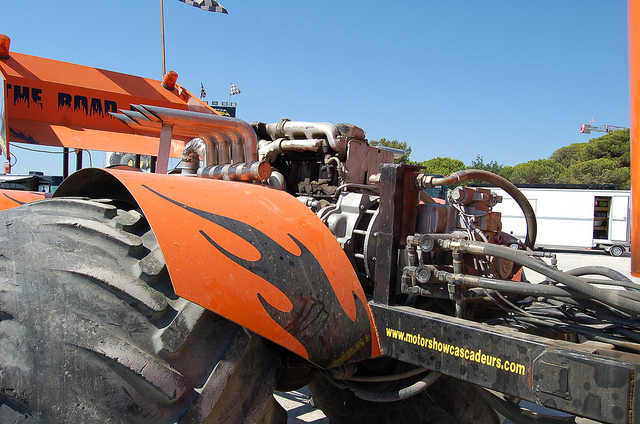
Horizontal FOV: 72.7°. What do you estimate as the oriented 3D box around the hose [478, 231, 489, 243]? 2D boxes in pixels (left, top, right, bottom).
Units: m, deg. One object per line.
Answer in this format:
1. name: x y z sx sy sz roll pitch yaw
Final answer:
1. hose: 1.197 0.179 3.177 0.020 0.035 0.089 14 38 -32
